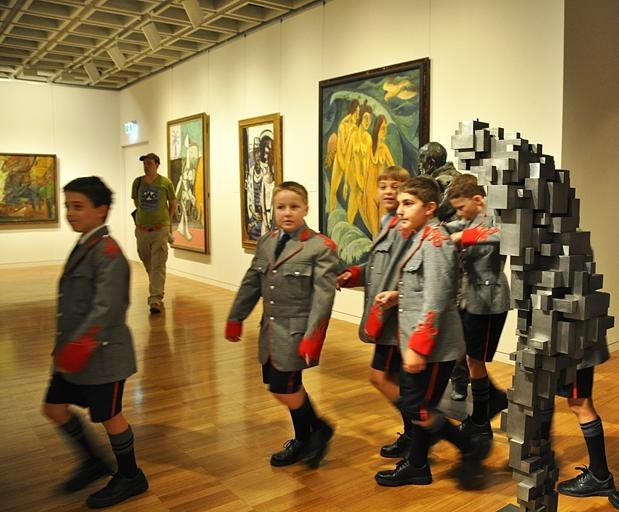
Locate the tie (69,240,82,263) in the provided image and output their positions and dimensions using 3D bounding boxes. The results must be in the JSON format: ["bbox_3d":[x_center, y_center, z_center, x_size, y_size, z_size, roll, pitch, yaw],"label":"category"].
[{"bbox_3d":[-1.084,-0.028,2.118,0.053,0.081,0.073,-2,5,-24],"label":"tie"}]

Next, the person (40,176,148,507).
[{"bbox_3d":[-1.028,0.404,2.209,0.449,1.579,0.497,-3,5,-31],"label":"person"}]

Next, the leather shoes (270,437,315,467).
[{"bbox_3d":[-0.099,1.092,2.578,0.286,0.104,0.103,4,-13,-34],"label":"leather shoes"}]

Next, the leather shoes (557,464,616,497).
[{"bbox_3d":[1.333,1.097,2.275,0.332,0.138,0.122,-2,-7,12],"label":"leather shoes"}]

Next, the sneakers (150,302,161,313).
[{"bbox_3d":[-2.152,0.722,6.439,0.145,0.130,0.182,-2,5,-16],"label":"sneakers"}]

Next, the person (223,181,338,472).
[{"bbox_3d":[-0.149,0.384,2.485,0.601,1.564,0.394,1,5,11],"label":"person"}]

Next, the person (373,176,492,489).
[{"bbox_3d":[0.549,0.401,2.206,0.499,1.561,0.516,1,5,19],"label":"person"}]

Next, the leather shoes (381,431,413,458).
[{"bbox_3d":[0.487,1.102,2.687,0.218,0.089,0.098,1,-3,-4],"label":"leather shoes"}]

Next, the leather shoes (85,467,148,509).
[{"bbox_3d":[-0.937,1.139,2.272,0.101,0.109,0.276,-6,-4,43],"label":"leather shoes"}]

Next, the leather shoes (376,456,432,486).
[{"bbox_3d":[0.487,1.109,2.392,0.307,0.127,0.119,0,-5,3],"label":"leather shoes"}]

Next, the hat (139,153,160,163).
[{"bbox_3d":[-2.311,-1.418,6.621,0.217,0.168,0.390,-2,5,-23],"label":"hat"}]
